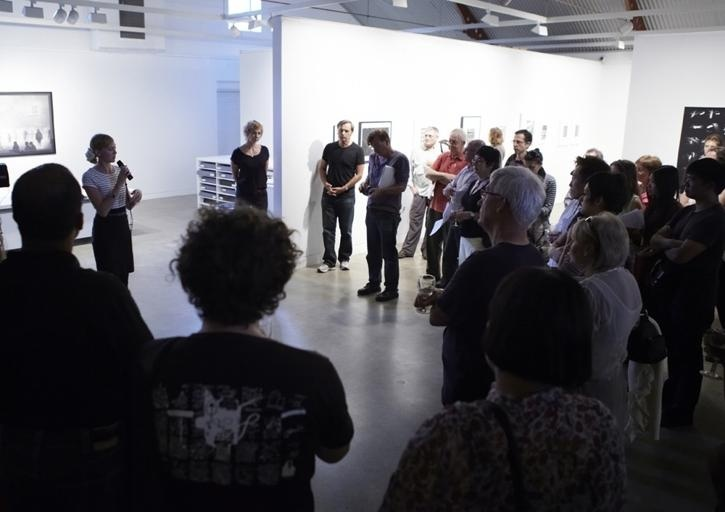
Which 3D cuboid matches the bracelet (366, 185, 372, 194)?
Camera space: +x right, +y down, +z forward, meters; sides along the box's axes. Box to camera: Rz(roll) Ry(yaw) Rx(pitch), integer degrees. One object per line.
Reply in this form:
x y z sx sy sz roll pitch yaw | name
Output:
0.079 -0.772 6.251 0.062 0.082 0.026 15 7 43 | bracelet

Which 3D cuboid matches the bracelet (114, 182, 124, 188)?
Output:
-2.252 -0.648 4.879 0.055 0.054 0.055 10 7 38 | bracelet

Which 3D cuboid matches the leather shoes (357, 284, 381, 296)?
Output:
0.087 0.410 6.386 0.304 0.118 0.112 -3 4 -37 | leather shoes

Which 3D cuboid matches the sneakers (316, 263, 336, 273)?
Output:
-0.505 0.178 7.243 0.106 0.094 0.230 1 3 36 | sneakers

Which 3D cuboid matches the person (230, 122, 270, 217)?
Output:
-1.511 -1.227 7.075 0.475 1.113 0.575 0 11 -13 | person

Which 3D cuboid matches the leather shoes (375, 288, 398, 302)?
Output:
0.288 0.468 6.212 0.284 0.118 0.105 -1 4 -33 | leather shoes

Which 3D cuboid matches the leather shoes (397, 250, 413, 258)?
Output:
0.643 -0.006 7.959 0.229 0.087 0.083 -1 4 -40 | leather shoes
